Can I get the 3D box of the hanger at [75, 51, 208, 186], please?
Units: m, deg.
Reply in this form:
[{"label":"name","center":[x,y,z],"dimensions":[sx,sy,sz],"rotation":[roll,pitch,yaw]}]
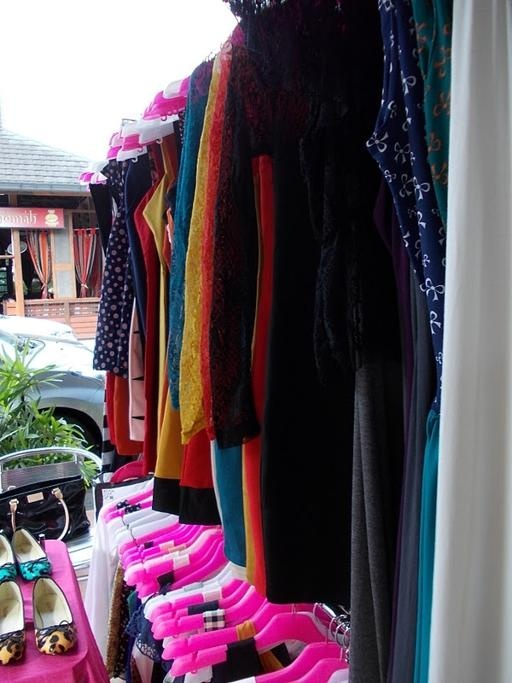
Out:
[{"label":"hanger","center":[-0.254,-0.483,1.338],"dimensions":[0.210,0.290,0.285],"rotation":[-6,14,-31]}]
